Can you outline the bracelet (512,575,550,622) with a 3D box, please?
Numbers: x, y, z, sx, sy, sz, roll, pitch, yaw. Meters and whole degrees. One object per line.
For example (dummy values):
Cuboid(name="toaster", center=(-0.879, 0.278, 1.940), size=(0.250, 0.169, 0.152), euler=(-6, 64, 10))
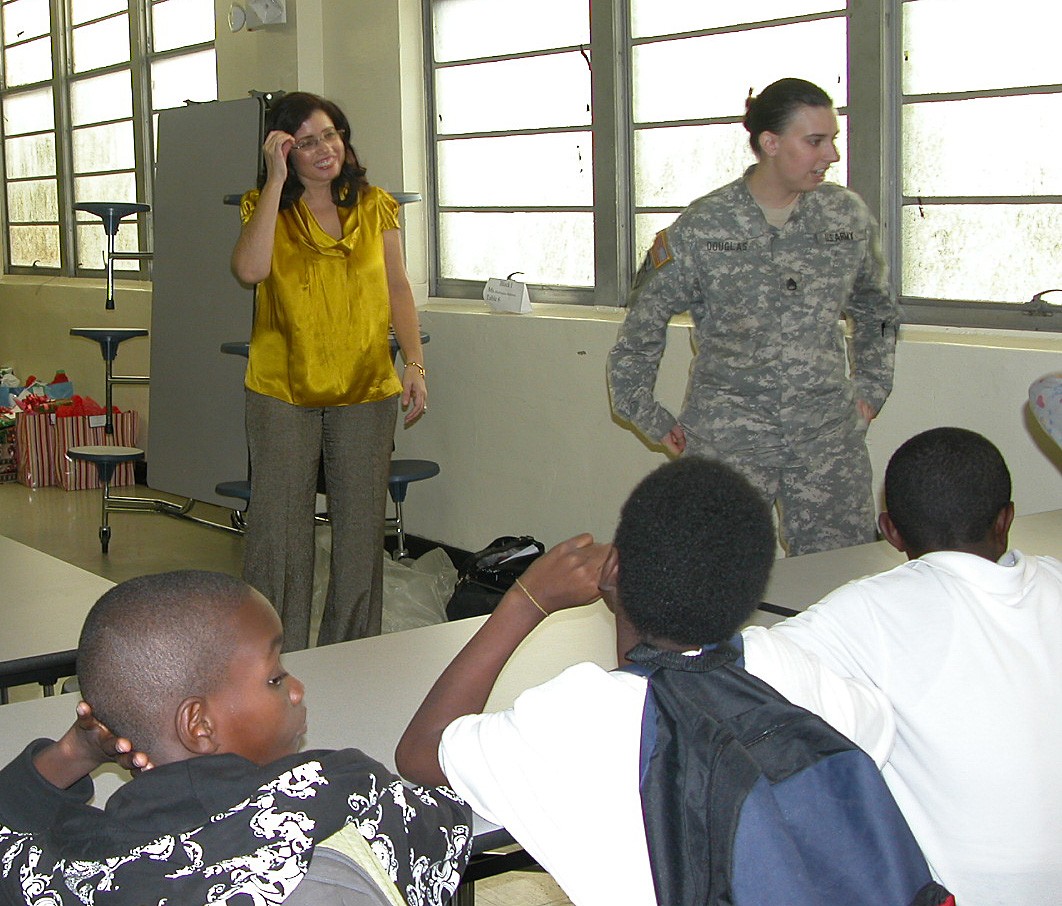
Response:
Cuboid(name="bracelet", center=(0.002, 0.185, 1.192), size=(0.013, 0.050, 0.038), euler=(-39, -8, 2))
